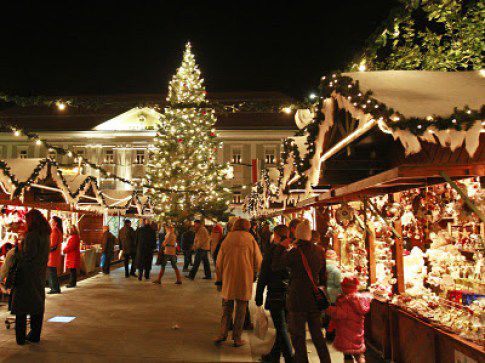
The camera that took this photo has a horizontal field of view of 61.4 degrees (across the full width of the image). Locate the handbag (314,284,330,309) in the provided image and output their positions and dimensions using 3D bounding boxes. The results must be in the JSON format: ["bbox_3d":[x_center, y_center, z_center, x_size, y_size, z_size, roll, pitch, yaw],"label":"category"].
[{"bbox_3d":[1.111,1.675,5.824,0.165,0.311,0.233,-14,-22,6],"label":"handbag"}]

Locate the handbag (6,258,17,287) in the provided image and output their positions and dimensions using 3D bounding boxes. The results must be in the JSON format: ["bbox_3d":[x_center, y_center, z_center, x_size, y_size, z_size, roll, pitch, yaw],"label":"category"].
[{"bbox_3d":[-3.726,1.511,6.709,0.125,0.328,0.241,10,4,-16],"label":"handbag"}]

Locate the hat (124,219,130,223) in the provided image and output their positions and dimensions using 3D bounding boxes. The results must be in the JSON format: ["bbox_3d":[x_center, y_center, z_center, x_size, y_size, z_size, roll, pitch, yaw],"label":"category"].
[{"bbox_3d":[-3.955,1.366,14.285,0.160,0.118,0.155,1,-8,-2],"label":"hat"}]

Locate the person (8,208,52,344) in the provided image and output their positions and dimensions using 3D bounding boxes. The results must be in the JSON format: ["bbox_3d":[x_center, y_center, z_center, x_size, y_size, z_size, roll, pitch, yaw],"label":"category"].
[{"bbox_3d":[-3.529,1.571,6.908,0.527,2.237,0.412,4,-4,-28],"label":"person"}]

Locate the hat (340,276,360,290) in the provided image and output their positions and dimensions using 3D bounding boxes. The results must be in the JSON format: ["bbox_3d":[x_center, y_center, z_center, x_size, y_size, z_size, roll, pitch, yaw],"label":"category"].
[{"bbox_3d":[1.530,1.437,5.821,0.207,0.184,0.181,-3,-7,16],"label":"hat"}]

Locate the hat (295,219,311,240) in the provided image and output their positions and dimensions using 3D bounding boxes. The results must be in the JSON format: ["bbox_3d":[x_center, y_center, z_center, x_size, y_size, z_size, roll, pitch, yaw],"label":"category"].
[{"bbox_3d":[0.904,0.703,6.013,0.232,0.231,0.296,2,-28,0],"label":"hat"}]

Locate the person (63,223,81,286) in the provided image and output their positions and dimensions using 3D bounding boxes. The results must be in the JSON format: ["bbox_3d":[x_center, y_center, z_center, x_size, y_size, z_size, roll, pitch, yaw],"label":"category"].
[{"bbox_3d":[-4.979,2.137,12.104,0.439,1.870,1.355,4,-3,-22],"label":"person"}]

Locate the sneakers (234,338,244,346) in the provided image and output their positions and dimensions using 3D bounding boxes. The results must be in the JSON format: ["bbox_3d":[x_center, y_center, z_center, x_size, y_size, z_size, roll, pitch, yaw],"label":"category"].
[{"bbox_3d":[-0.038,2.766,7.087,0.174,0.121,0.171,2,-3,0],"label":"sneakers"}]
